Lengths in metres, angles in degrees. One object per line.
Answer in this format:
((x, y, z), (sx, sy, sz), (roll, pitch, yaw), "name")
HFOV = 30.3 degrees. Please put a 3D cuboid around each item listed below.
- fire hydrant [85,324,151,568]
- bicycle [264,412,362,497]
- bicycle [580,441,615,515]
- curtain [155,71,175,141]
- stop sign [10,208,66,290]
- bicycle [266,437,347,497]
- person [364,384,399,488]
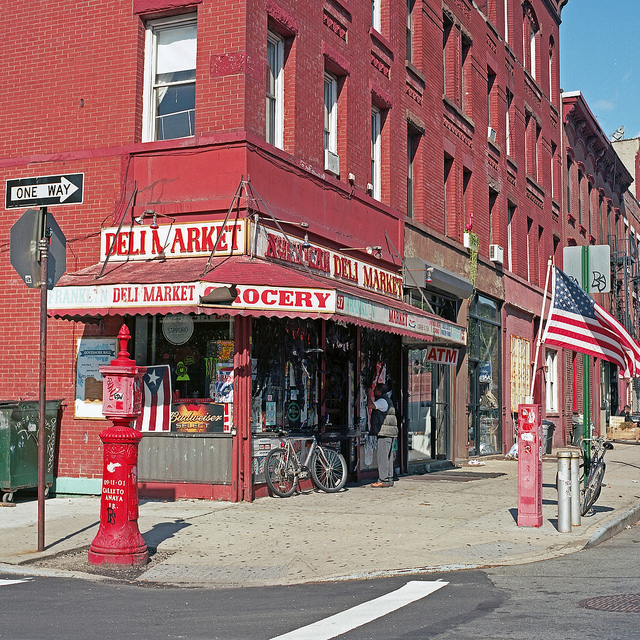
((-2.136, 1.313, 12.676), (0.584, 2.632, 0.335), (1, -10, -11), "fire hydrant")
((-0.201, 2.093, 18.187), (1.724, 1.226, 0.503), (-7, -2, 36), "bicycle")
((3.721, 2.072, 15.975), (0.327, 0.989, 1.423), (10, 2, 26), "bicycle")
((-2.362, -3.318, 17.947), (0.371, 1.016, 0.088), (-7, -11, 32), "curtain")
((-3.267, -0.823, 13.647), (0.745, 1.000, 0.399), (-12, -15, 43), "stop sign")
((-0.219, 2.256, 17.924), (0.578, 0.997, 1.343), (-7, -2, 35), "bicycle")
((1.020, 1.859, 19.350), (0.452, 1.731, 0.537), (-1, -10, 3), "person")
